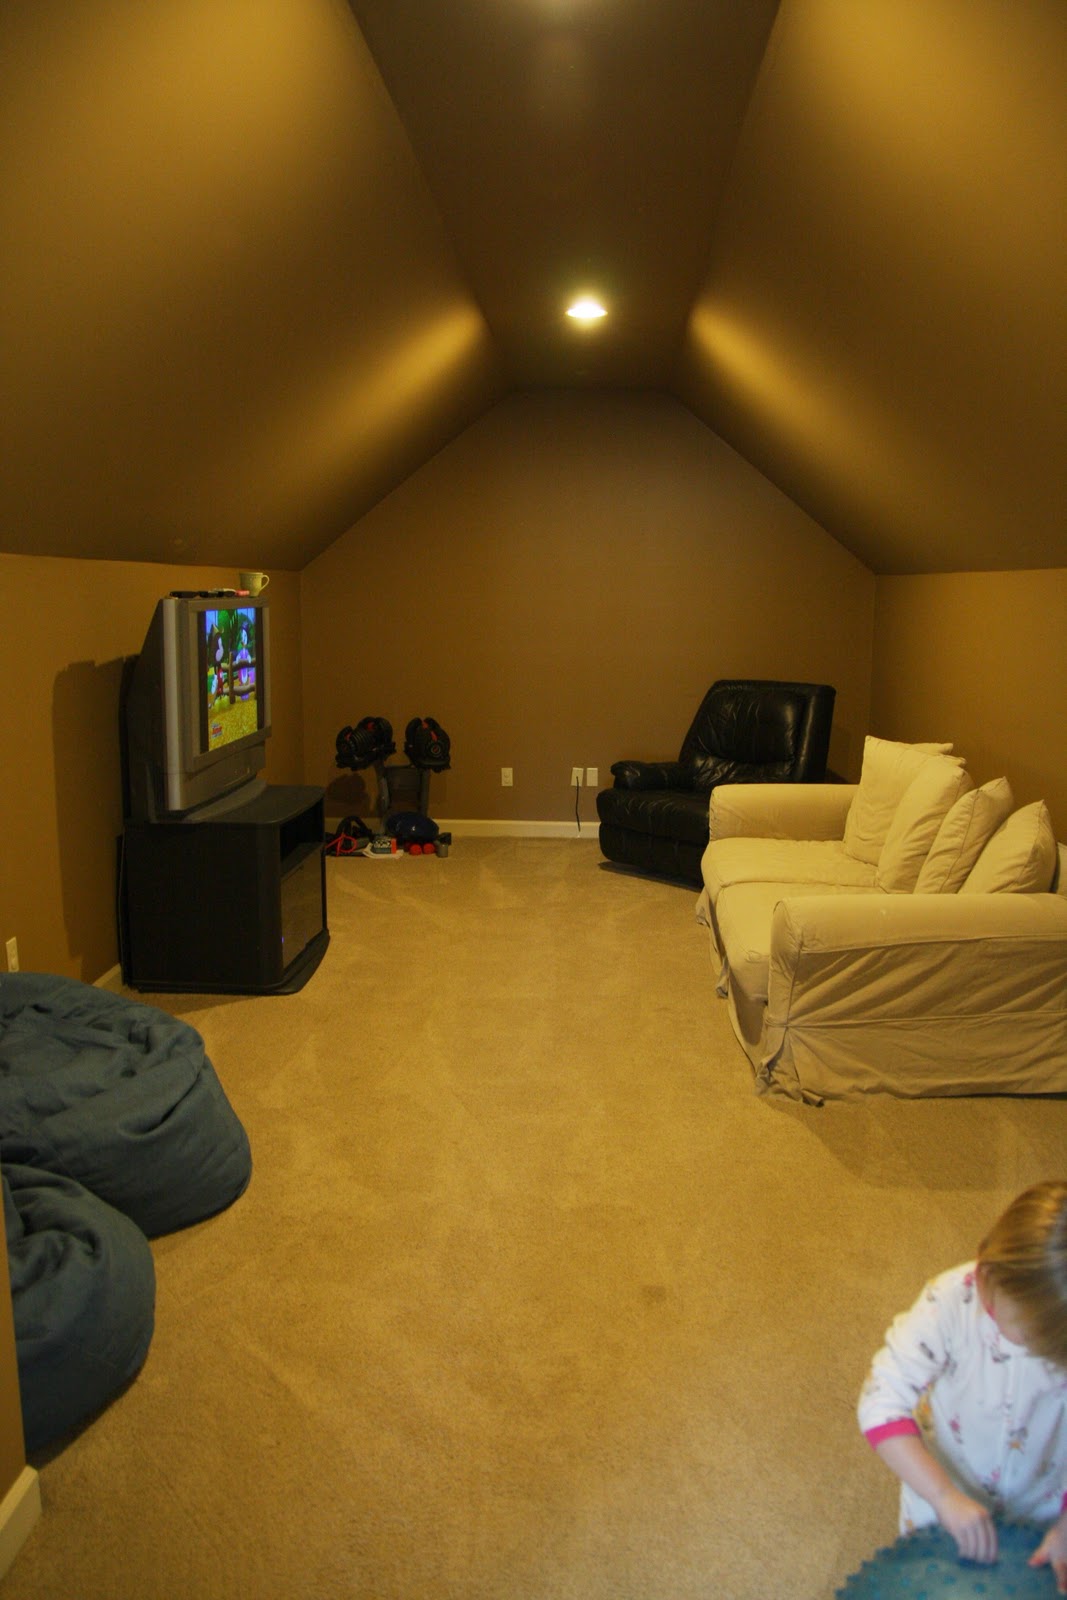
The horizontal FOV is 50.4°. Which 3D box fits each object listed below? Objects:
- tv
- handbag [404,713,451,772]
[{"bbox_3d":[-1.119,-0.302,3.726,0.324,0.643,0.722,1,9,-1],"label":"tv"},{"bbox_3d":[-0.557,-0.296,6.023,0.205,0.305,0.094,-2,-2,6],"label":"handbag"}]
